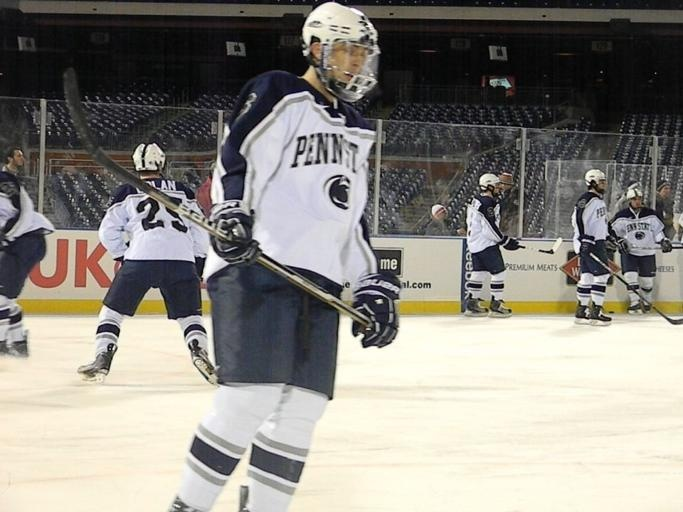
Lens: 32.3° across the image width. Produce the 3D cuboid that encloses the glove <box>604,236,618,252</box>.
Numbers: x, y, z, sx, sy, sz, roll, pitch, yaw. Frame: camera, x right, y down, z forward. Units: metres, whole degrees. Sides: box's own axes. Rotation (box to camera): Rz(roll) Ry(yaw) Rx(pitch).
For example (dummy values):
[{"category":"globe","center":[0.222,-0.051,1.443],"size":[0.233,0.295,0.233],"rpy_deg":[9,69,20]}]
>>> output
[{"category":"glove","center":[3.666,-0.102,15.964],"size":[0.159,0.190,0.198],"rpy_deg":[0,0,-19]}]

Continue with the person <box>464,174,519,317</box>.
[{"category":"person","center":[1.968,-0.092,15.598],"size":[0.651,1.859,0.680],"rpy_deg":[3,9,5]}]

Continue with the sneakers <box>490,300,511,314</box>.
[{"category":"sneakers","center":[2.083,0.732,15.471],"size":[0.272,0.211,0.183],"rpy_deg":[3,9,6]}]

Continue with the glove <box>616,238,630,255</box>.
[{"category":"glove","center":[3.834,-0.074,16.029],"size":[0.081,0.215,0.166],"rpy_deg":[-19,-9,28]}]

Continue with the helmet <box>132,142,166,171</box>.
[{"category":"helmet","center":[-1.899,-0.950,11.701],"size":[0.307,0.308,0.257],"rpy_deg":[-1,1,43]}]

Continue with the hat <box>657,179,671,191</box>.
[{"category":"hat","center":[4.553,-0.968,16.675],"size":[0.195,0.062,0.137],"rpy_deg":[-24,-3,-16]}]

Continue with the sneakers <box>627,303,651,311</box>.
[{"category":"sneakers","center":[4.153,0.776,16.290],"size":[0.383,0.156,0.122],"rpy_deg":[5,-4,-9]}]

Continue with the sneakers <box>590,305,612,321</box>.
[{"category":"sneakers","center":[3.297,0.793,15.006],"size":[0.264,0.261,0.305],"rpy_deg":[4,9,11]}]

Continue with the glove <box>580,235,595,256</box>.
[{"category":"glove","center":[3.119,-0.082,14.985],"size":[0.167,0.259,0.116],"rpy_deg":[4,10,11]}]

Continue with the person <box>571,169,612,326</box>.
[{"category":"person","center":[3.281,-0.096,15.373],"size":[0.548,1.940,1.279],"rpy_deg":[4,9,10]}]

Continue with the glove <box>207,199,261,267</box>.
[{"category":"glove","center":[-0.772,-0.140,8.381],"size":[0.338,0.438,0.191],"rpy_deg":[-11,-8,-14]}]

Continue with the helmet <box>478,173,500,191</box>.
[{"category":"helmet","center":[1.950,-0.927,15.588],"size":[0.260,0.193,0.189],"rpy_deg":[-5,13,3]}]

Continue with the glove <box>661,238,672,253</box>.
[{"category":"glove","center":[4.534,-0.099,16.405],"size":[0.147,0.177,0.188],"rpy_deg":[1,-7,-5]}]
